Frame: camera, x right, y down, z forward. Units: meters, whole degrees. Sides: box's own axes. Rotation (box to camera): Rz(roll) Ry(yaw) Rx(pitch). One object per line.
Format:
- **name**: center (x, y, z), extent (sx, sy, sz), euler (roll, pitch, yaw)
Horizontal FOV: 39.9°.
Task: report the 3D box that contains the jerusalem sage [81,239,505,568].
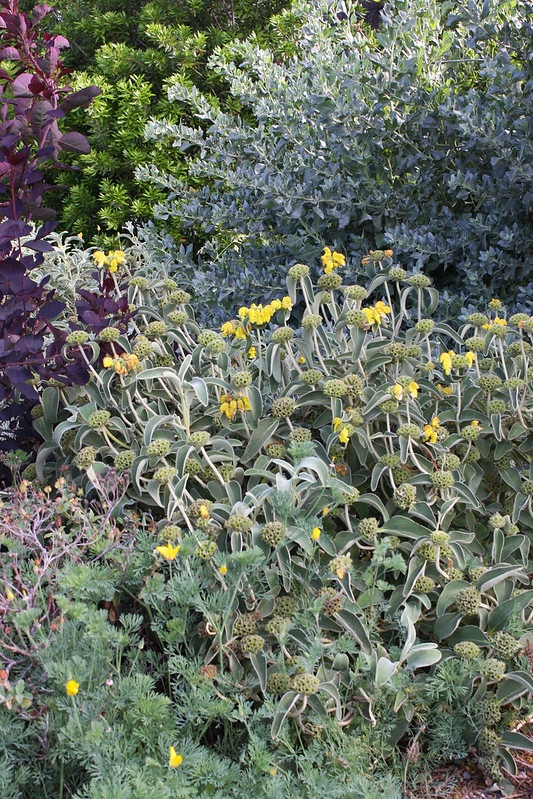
- **jerusalem sage**: center (0.096, 0.021, 2.330), extent (1.225, 0.655, 1.150), euler (-2, 26, -17)
